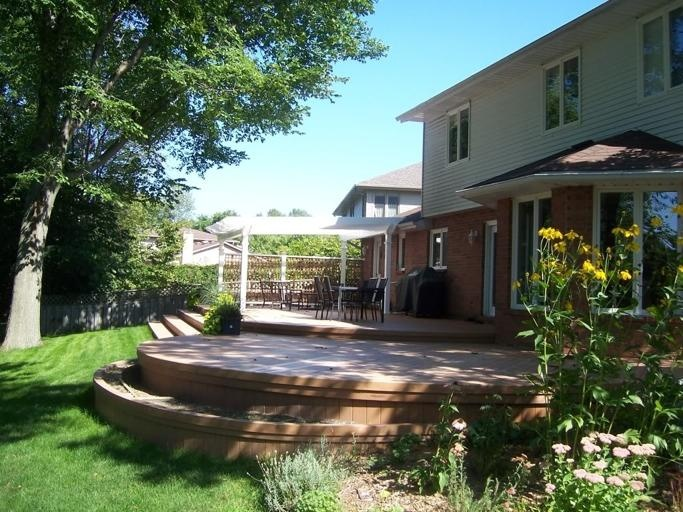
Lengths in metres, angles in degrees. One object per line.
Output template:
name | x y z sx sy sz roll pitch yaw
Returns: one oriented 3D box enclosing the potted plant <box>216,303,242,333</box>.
potted plant | -2.577 1.435 12.444 0.700 0.707 0.583 2 -3 -15
